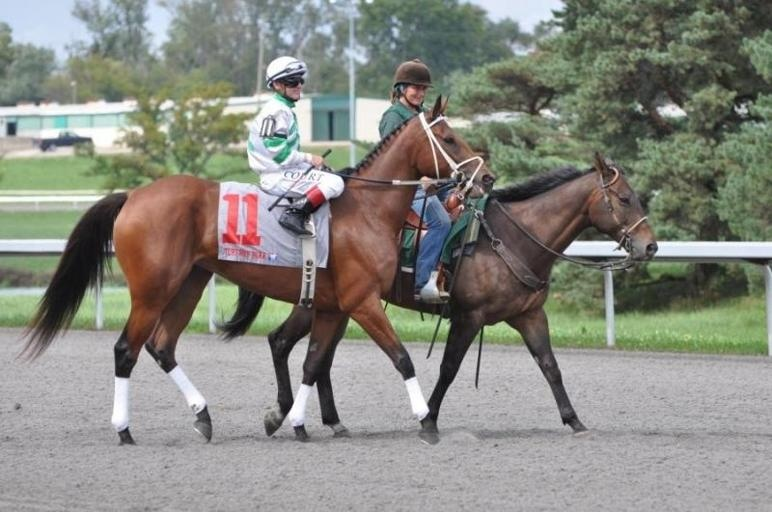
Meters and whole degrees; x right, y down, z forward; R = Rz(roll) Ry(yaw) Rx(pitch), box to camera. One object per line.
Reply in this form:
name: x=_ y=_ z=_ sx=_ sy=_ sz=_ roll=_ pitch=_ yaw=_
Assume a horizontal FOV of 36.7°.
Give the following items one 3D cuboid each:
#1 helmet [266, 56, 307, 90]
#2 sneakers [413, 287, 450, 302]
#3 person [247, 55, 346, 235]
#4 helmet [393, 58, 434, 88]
helmet: x=-0.997 y=-1.874 z=11.693 sx=0.378 sy=0.222 sz=0.270 roll=-2 pitch=-6 yaw=-6
sneakers: x=0.474 y=0.413 z=11.870 sx=0.279 sy=0.112 sz=0.145 roll=8 pitch=6 yaw=-11
person: x=-0.917 y=-1.107 z=11.554 sx=0.777 sy=1.690 sz=0.560 roll=13 pitch=19 yaw=41
helmet: x=0.285 y=-1.945 z=12.204 sx=0.365 sy=0.209 sz=0.290 roll=4 pitch=5 yaw=29
